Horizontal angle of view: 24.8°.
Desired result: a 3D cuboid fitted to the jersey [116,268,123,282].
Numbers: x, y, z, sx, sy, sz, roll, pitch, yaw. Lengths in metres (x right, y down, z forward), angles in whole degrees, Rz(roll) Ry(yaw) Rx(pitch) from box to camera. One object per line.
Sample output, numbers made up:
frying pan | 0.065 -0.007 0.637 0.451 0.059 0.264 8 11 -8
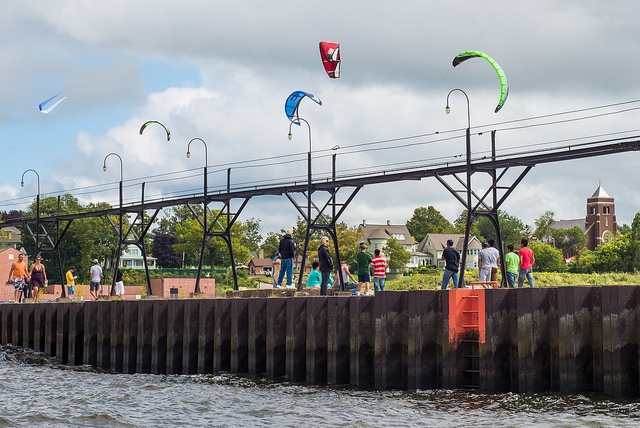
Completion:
jersey | -13.839 4.328 99.478 0.297 0.740 1.326 -2 3 -16

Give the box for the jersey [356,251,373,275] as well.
jersey | 2.719 3.069 89.354 0.892 1.427 0.601 -1 2 6

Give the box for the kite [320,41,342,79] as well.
kite | 0.672 -9.952 93.202 1.138 2.288 3.230 -1 3 0

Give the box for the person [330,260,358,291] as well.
person | 1.511 3.701 90.722 1.890 1.439 0.501 3 21 38

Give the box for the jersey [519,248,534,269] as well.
jersey | 12.930 2.802 90.546 0.836 1.276 0.557 -2 2 -12

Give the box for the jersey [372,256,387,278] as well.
jersey | 3.645 3.347 89.884 0.714 1.342 0.888 -1 2 6

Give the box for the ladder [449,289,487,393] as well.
ladder | 8.444 7.279 82.821 2.105 5.848 1.012 -1 2 6

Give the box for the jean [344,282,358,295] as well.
jean | 1.997 4.592 88.957 0.821 0.590 1.858 -1 3 -10

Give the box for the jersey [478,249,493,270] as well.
jersey | 10.359 2.866 90.551 1.302 1.594 0.993 0 3 1

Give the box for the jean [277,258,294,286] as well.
jean | -2.238 3.772 92.414 0.977 1.865 1.641 -1 2 -3

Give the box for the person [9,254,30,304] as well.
person | -19.545 4.221 93.703 0.843 3.108 1.583 -1 2 6

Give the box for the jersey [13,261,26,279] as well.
jersey | -19.515 3.680 93.700 0.982 1.381 0.713 6 -10 -44

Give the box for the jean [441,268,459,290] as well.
jean | 7.963 4.024 88.668 0.952 1.319 3.044 -1 3 6

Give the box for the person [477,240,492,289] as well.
person | 10.256 2.986 90.261 0.816 2.474 1.095 1 3 39

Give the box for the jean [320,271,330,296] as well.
jean | 0.294 4.283 89.075 0.601 1.508 0.998 -1 2 -1
